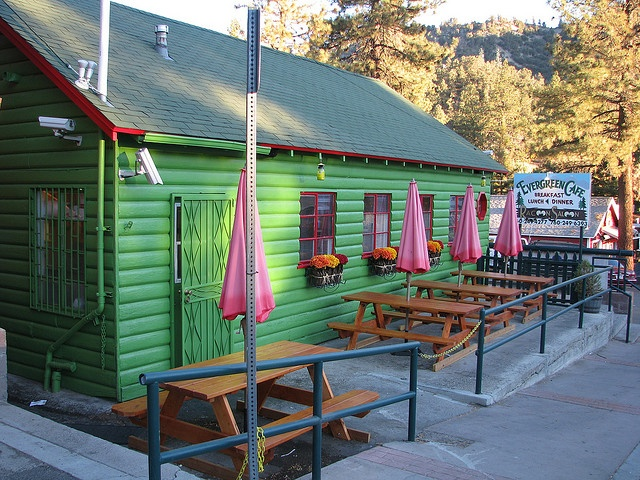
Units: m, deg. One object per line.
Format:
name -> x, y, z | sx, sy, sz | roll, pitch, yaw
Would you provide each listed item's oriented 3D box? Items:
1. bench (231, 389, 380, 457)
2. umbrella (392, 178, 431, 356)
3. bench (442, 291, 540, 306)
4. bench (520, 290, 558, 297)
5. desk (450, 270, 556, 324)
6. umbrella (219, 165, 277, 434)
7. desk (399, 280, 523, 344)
bench -> -0.138, 2.070, 6.178 | 0.651, 0.298, 1.569 | -2, -2, 36
umbrella -> 1.756, -0.014, 9.898 | 0.782, 2.876, 0.669 | 10, 16, 28
bench -> 3.673, 1.220, 11.914 | 1.090, 0.220, 1.051 | 3, 6, 43
bench -> 4.528, 1.098, 11.431 | 0.712, 0.127, 0.445 | 3, 5, 40
desk -> 4.758, 0.870, 13.534 | 2.868, 1.059, 1.464 | 1, 2, 37
umbrella -> -0.763, 0.170, 5.849 | 0.571, 1.839, 0.799 | 0, 5, -12
desk -> 3.259, 1.358, 12.079 | 1.601, 0.963, 1.824 | -8, 12, -43
